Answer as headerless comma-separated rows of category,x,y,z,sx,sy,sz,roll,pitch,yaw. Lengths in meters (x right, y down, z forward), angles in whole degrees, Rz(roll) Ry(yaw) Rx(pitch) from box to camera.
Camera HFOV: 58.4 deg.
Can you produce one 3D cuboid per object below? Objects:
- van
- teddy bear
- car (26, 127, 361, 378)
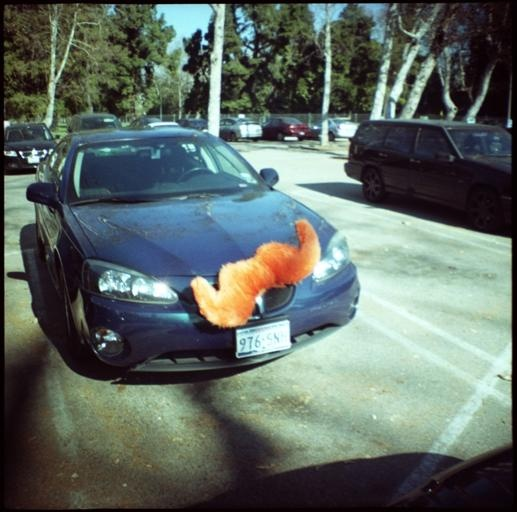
van,3.397,-1.614,9.028,1.964,1.409,3.951,-12,22,-30
teddy bear,0.017,0.128,2.982,0.790,0.436,0.201,-41,-4,-35
car,-1.019,-0.593,4.621,2.078,1.245,4.019,-17,27,-18
